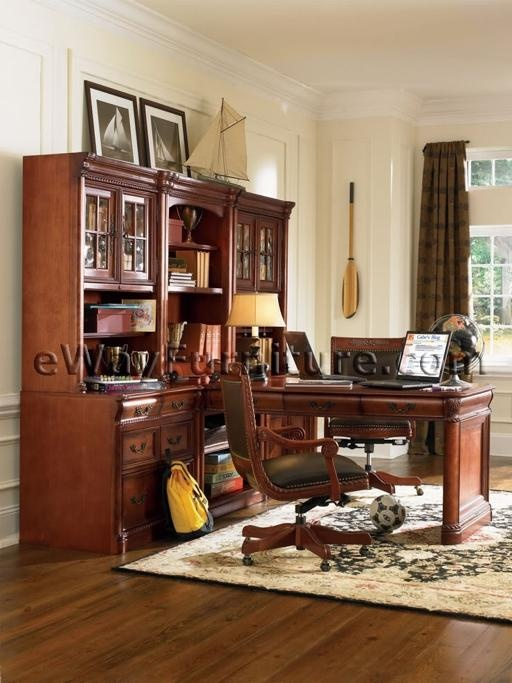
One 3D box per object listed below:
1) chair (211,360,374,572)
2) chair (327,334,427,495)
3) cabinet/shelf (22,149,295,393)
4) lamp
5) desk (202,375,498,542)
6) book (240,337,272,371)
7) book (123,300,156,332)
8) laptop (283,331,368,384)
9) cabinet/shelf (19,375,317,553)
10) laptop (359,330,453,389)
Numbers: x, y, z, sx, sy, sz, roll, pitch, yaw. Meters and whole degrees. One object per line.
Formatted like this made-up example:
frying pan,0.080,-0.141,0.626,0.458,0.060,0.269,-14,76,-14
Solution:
chair,0.220,0.583,2.849,0.730,0.900,0.619,2,-5,-17
chair,0.814,0.493,4.153,0.744,1.150,0.806,-1,-9,25
cabinet/shelf,-0.481,-0.378,3.998,0.369,1.276,2.303,1,3,30
lamp,0.004,-0.162,3.929,0.339,0.351,0.315,3,-3,-44
desk,0.558,0.682,3.642,1.589,0.792,0.781,-1,-4,31
book,0.015,0.090,4.500,0.272,0.356,0.261,0,2,-15
book,-0.713,-0.159,3.494,0.208,0.222,0.030,1,-1,-41
laptop,0.404,0.096,3.603,0.344,0.228,0.347,-2,-2,-22
cabinet/shelf,-0.590,0.722,3.677,0.618,0.759,1.608,-3,-4,21
laptop,0.852,0.114,3.284,0.278,0.376,0.345,25,-14,-36
